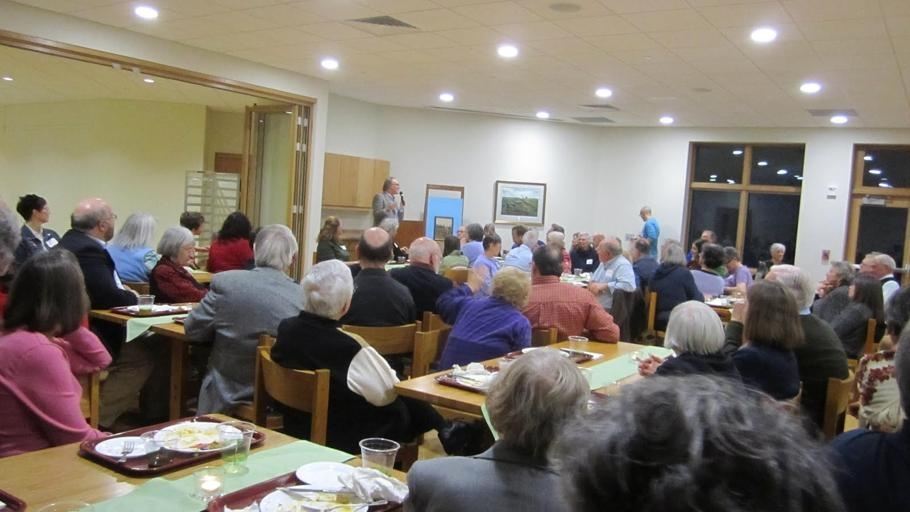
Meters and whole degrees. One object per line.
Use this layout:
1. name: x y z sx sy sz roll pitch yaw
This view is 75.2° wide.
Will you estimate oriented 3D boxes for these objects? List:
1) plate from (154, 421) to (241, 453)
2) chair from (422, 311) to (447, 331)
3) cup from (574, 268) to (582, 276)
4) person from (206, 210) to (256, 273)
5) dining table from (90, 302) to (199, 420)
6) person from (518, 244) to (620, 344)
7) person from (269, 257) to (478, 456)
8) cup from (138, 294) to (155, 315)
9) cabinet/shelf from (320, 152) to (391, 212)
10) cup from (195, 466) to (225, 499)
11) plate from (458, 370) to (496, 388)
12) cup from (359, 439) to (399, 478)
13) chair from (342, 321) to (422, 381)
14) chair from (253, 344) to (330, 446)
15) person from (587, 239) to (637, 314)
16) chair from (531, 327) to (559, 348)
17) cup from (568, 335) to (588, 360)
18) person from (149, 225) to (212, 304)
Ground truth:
1. plate: -1.360 0.924 3.047 0.234 0.031 0.219 11 3 37
2. chair: -0.179 0.564 5.125 0.158 0.182 0.284 -1 -2 32
3. cup: 2.028 0.250 9.698 0.139 0.090 0.121 -1 4 -30
4. person: -2.453 -0.073 6.577 0.500 0.794 0.452 17 30 3
5. dining table: -2.368 0.813 4.763 0.923 0.779 0.904 1 -5 31
6. person: 1.109 0.360 5.700 1.002 1.220 0.676 6 47 19
7. person: -0.737 0.682 4.197 0.997 1.205 1.295 14 10 33
8. cup: -2.495 0.388 4.833 0.150 0.137 0.149 0 -6 0
9. cabinet/shelf: -2.060 -1.423 11.526 1.504 0.960 0.505 -2 9 -45
10. cup: -1.139 1.047 2.782 0.143 0.106 0.127 -2 3 -17
11. plate: 0.148 0.795 3.839 0.255 0.031 0.242 0 2 -11
12. cup: -0.386 1.017 2.993 0.191 0.134 0.188 5 0 0
13. chair: -0.471 0.796 4.708 0.374 0.428 0.367 -5 -5 19
14. chair: -1.092 0.886 3.784 0.405 0.493 0.386 12 -12 -30
15. person: 1.982 0.251 7.413 0.451 1.031 0.684 12 -22 -2
16. chair: 0.719 0.652 4.805 0.161 0.208 0.191 6 5 43
17. cup: 0.887 0.667 4.326 0.164 0.149 0.158 0 -3 0
18. person: -2.534 0.129 5.568 0.634 0.710 0.539 7 -1 -25
